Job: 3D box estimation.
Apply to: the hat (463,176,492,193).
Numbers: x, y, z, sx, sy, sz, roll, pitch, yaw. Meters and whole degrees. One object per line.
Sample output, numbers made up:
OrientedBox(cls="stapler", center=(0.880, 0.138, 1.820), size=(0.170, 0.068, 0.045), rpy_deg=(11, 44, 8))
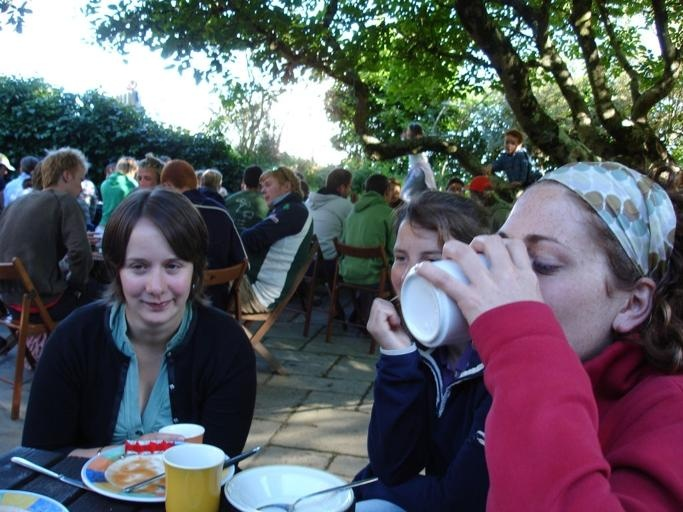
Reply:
OrientedBox(cls="hat", center=(1.740, -0.909, 7.028), size=(0.253, 0.152, 0.187), rpy_deg=(0, 9, 36))

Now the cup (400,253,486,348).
OrientedBox(cls="cup", center=(0.229, 0.122, 1.367), size=(0.182, 0.207, 0.157), rpy_deg=(5, 9, 12))
